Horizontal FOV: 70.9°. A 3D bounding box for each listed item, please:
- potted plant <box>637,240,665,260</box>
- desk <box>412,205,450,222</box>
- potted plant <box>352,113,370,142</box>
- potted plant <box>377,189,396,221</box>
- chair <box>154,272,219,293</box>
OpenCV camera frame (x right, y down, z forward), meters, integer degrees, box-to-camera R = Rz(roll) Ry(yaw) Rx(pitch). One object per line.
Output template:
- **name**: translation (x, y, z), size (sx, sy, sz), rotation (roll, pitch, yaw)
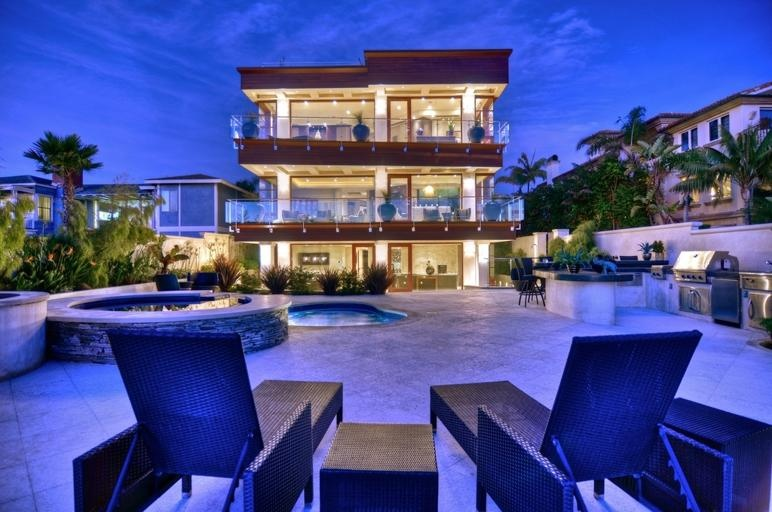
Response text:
- **potted plant**: translation (11.609, -0.237, 23.837), size (0.908, 0.725, 0.940), rotation (-1, -7, 2)
- **desk**: translation (2.286, -2.107, 26.788), size (1.929, 0.743, 0.272), rotation (-1, 5, 5)
- **potted plant**: translation (-1.305, -6.474, 27.864), size (1.161, 1.796, 1.227), rotation (-1, -3, -3)
- **potted plant**: translation (0.100, -2.375, 27.108), size (1.246, 1.931, 1.250), rotation (0, -4, -2)
- **chair**: translation (-7.696, 1.001, 21.113), size (1.406, 0.760, 2.317), rotation (0, 5, 24)
